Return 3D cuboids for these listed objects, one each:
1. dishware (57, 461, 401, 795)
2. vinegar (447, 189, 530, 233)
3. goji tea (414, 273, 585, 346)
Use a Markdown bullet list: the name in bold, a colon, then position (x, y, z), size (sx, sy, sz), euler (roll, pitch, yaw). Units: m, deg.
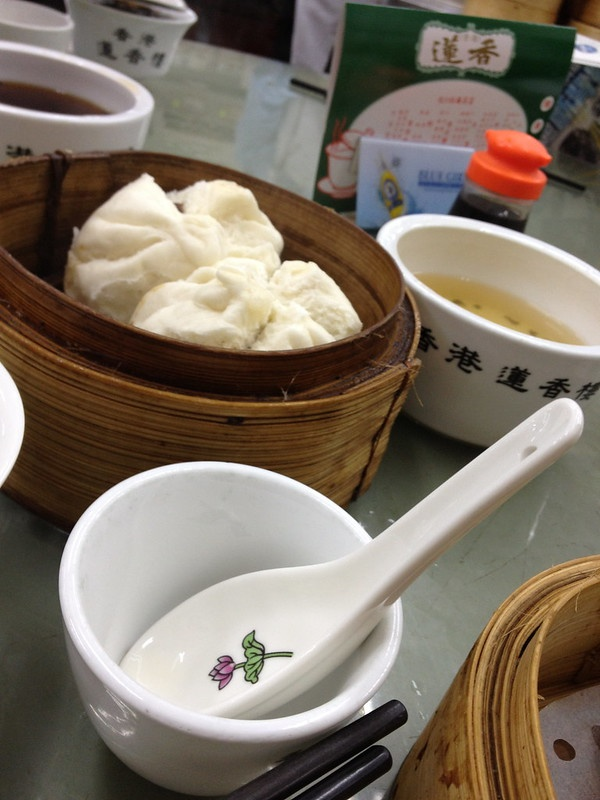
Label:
- **dishware**: position (-0.103, 0.152, 0.483), size (0.233, 0.141, 0.216), euler (12, 37, -36)
- **vinegar**: position (0.230, -0.237, 0.863), size (0.083, 0.073, 0.056), euler (17, 36, -2)
- **goji tea**: position (0.253, -0.129, 0.814), size (0.125, 0.026, 0.126), euler (25, 10, -12)
